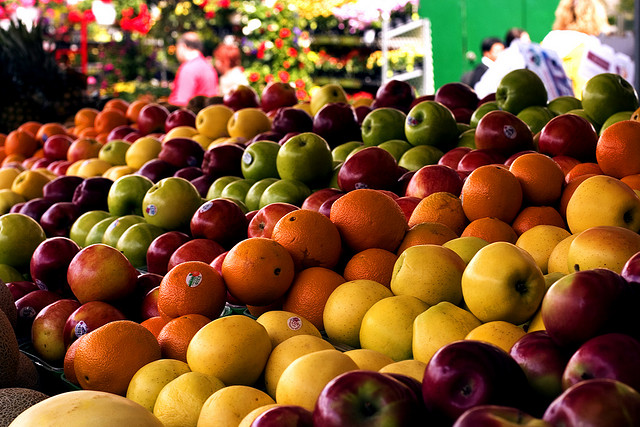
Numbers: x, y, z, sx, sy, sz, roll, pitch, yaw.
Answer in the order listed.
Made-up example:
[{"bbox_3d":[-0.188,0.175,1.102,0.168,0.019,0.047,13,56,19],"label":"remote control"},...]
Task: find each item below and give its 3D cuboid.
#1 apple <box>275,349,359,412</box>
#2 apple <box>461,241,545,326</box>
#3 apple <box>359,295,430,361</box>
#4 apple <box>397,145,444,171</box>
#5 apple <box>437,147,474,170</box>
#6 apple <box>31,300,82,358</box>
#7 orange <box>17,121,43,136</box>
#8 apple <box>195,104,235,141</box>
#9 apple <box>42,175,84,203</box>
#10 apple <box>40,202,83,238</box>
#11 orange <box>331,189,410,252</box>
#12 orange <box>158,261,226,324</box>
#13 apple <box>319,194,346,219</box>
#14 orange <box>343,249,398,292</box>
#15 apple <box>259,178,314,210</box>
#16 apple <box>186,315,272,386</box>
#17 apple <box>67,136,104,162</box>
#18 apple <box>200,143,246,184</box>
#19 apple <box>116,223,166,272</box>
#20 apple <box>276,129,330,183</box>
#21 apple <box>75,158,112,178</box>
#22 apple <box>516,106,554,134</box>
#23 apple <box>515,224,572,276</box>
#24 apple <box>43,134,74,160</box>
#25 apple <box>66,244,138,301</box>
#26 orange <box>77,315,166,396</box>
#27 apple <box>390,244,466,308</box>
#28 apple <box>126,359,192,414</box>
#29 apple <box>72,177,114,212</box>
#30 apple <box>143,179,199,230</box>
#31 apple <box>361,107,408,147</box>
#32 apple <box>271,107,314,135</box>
[{"bbox_3d":[-0.006,0.475,1.655,0.166,0.185,0.178,3,9,-30],"label":"apple"},{"bbox_3d":[0.610,0.227,1.940,0.245,0.274,0.297,-12,26,-6],"label":"apple"},{"bbox_3d":[0.258,0.402,1.964,0.218,0.227,0.203,-4,-26,-7],"label":"apple"},{"bbox_3d":[0.614,-0.338,3.223,0.159,0.133,0.224,1,13,23],"label":"apple"},{"bbox_3d":[0.745,-0.309,3.018,0.158,0.153,0.139,-14,19,-15],"label":"apple"},{"bbox_3d":[-1.053,0.461,2.299,0.159,0.186,0.231,21,18,16],"label":"apple"},{"bbox_3d":[-2.657,-0.786,5.047,0.169,0.165,0.146,-8,6,-22],"label":"orange"},{"bbox_3d":[-0.755,-0.656,3.918,0.267,0.250,0.242,6,35,-12],"label":"apple"},{"bbox_3d":[-1.584,-0.159,3.434,0.194,0.132,0.154,-19,-12,-24],"label":"apple"},{"bbox_3d":[-1.479,0.020,3.219,0.172,0.220,0.233,15,17,7],"label":"apple"},{"bbox_3d":[0.195,0.022,2.380,0.297,0.260,0.268,29,9,-15],"label":"orange"},{"bbox_3d":[-0.499,0.338,2.177,0.256,0.326,0.307,-1,0,4],"label":"orange"},{"bbox_3d":[0.047,-0.039,2.538,0.094,0.126,0.098,22,-19,-13],"label":"apple"},{"bbox_3d":[0.204,0.236,2.187,0.148,0.175,0.180,-18,32,26],"label":"orange"},{"bbox_3d":[-0.169,-0.099,2.913,0.208,0.192,0.203,1,56,41],"label":"apple"},{"bbox_3d":[-0.311,0.464,1.925,0.270,0.237,0.219,-4,28,-33],"label":"apple"},{"bbox_3d":[-1.845,-0.480,4.327,0.202,0.225,0.204,-10,-16,-41],"label":"apple"},{"bbox_3d":[-0.580,-0.329,3.349,0.281,0.264,0.238,-11,22,-22],"label":"apple"},{"bbox_3d":[-0.947,0.153,2.838,0.199,0.273,0.222,2,5,19],"label":"apple"},{"bbox_3d":[-0.084,-0.282,3.084,0.231,0.305,0.247,-3,32,36],"label":"apple"},{"bbox_3d":[-1.592,-0.312,3.838,0.171,0.173,0.157,-3,-7,1],"label":"apple"},{"bbox_3d":[1.294,-0.568,3.290,0.134,0.130,0.197,-2,11,11],"label":"apple"},{"bbox_3d":[0.914,0.134,2.272,0.213,0.158,0.252,-18,0,-44],"label":"apple"},{"bbox_3d":[-2.111,-0.543,4.501,0.149,0.191,0.221,5,13,22],"label":"apple"},{"bbox_3d":[-0.894,0.248,2.279,0.231,0.228,0.231,-27,-11,-37],"label":"apple"},{"bbox_3d":[-0.747,0.505,1.980,0.244,0.301,0.278,8,6,38],"label":"orange"},{"bbox_3d":[0.409,0.230,2.152,0.244,0.242,0.222,8,-7,3],"label":"apple"},{"bbox_3d":[-0.534,0.566,1.838,0.174,0.174,0.169,-15,44,-5],"label":"apple"},{"bbox_3d":[-1.335,-0.109,3.228,0.222,0.212,0.197,6,25,-18],"label":"apple"},{"bbox_3d":[-0.798,-0.044,2.912,0.296,0.358,0.321,-3,9,-15],"label":"apple"},{"bbox_3d":[0.385,-0.510,3.475,0.272,0.259,0.260,1,49,-11],"label":"apple"},{"bbox_3d":[-0.186,-0.603,3.618,0.222,0.221,0.202,-6,-13,5],"label":"apple"}]
